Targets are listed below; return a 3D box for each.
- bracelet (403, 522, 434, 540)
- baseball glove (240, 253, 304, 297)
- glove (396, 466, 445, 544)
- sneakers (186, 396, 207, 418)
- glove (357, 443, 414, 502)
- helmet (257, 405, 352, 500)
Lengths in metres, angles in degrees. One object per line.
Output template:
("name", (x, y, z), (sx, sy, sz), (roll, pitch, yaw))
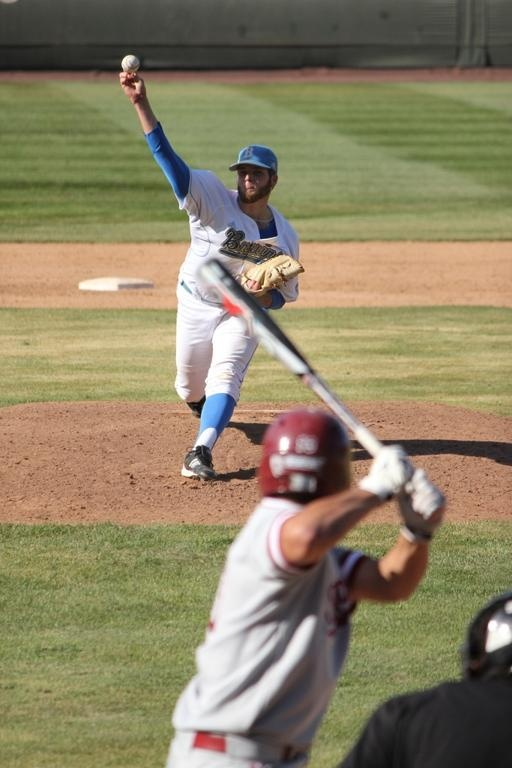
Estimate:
("bracelet", (0.388, 0.356, 3.180), (0.045, 0.015, 0.046), (12, 5, 37))
("baseball glove", (0.097, -0.552, 6.375), (0.251, 0.101, 0.247), (-32, 25, -28))
("glove", (0.389, 0.296, 3.157), (0.137, 0.167, 0.064), (3, 45, -10))
("sneakers", (-0.331, 0.137, 7.325), (0.124, 0.129, 0.107), (-6, 3, -16))
("glove", (0.293, 0.207, 3.131), (0.110, 0.141, 0.047), (16, 38, -58))
("helmet", (0.150, 0.155, 3.185), (0.206, 0.209, 0.240), (-22, 13, -37))
